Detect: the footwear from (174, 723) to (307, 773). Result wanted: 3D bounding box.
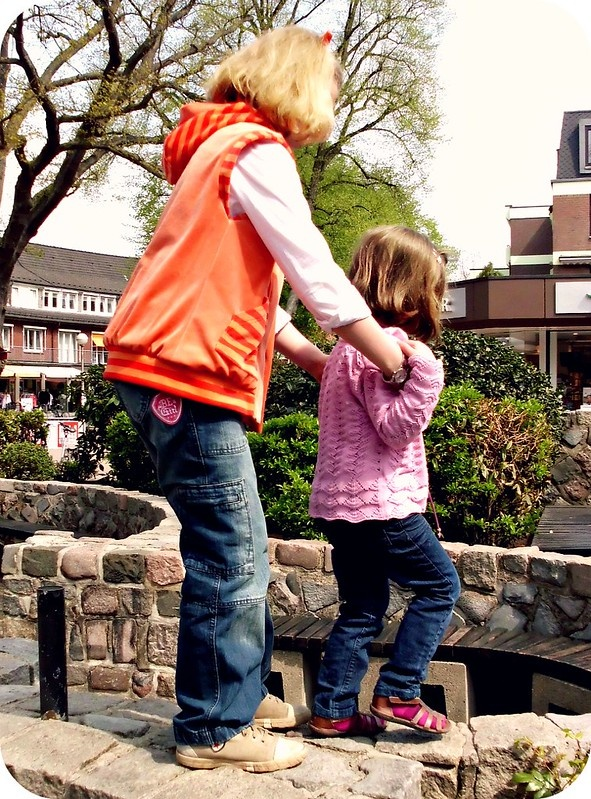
[{"bbox_3d":[-0.156,0.984,2.601,0.402,0.143,0.134,0,1,-10],"label":"footwear"}]

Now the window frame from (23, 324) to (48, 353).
[{"bbox_3d":[-15.123,-3.609,51.784,0.558,1.532,1.854,-6,-7,30],"label":"window frame"}]

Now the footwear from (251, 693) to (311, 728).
[{"bbox_3d":[-0.050,1.006,2.910,0.216,0.090,0.085,2,-3,-30],"label":"footwear"}]

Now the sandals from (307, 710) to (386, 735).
[{"bbox_3d":[0.169,1.053,2.950,0.251,0.090,0.097,1,-2,-18],"label":"sandals"}]

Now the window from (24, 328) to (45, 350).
[{"bbox_3d":[-15.149,-3.590,51.763,0.439,1.149,1.382,0,-9,28],"label":"window"}]

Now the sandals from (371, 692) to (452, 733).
[{"bbox_3d":[0.358,0.988,2.864,0.251,0.098,0.119,7,0,-8],"label":"sandals"}]

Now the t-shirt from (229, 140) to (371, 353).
[{"bbox_3d":[0.035,-0.464,2.553,0.463,0.477,0.215,-3,22,17],"label":"t-shirt"}]

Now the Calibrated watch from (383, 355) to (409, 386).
[{"bbox_3d":[0.299,-0.084,2.630,0.068,0.090,0.089,4,0,-5],"label":"Calibrated watch"}]
